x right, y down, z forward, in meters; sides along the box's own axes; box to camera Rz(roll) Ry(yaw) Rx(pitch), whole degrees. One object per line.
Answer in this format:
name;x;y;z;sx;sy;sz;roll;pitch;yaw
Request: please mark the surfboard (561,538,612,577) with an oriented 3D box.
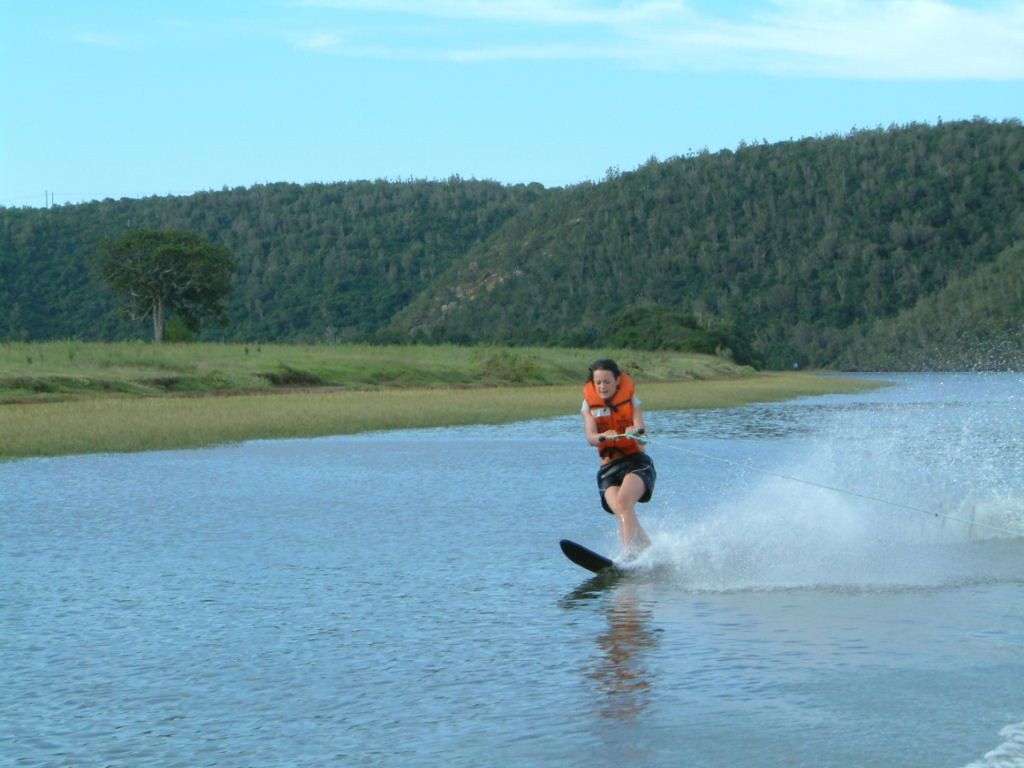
surfboard;0.980;2.121;19.328;0.248;0.142;1.093;-27;-38;24
